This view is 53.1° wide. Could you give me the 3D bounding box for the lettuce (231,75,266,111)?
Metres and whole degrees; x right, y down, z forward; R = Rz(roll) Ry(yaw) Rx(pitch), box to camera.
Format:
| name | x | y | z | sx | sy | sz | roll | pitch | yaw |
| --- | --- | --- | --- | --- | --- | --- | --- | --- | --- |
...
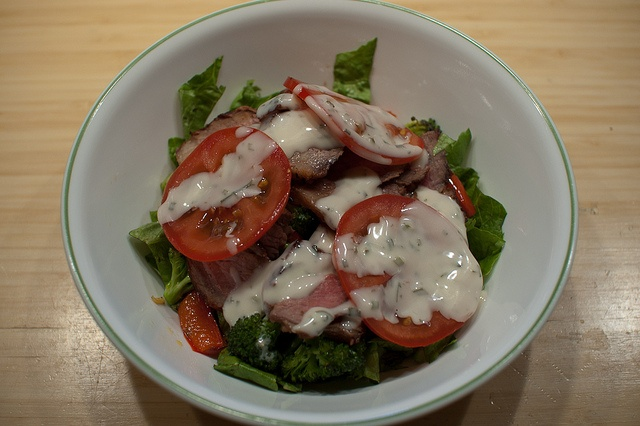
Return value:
| name | x | y | z | sx | sy | sz | roll | pitch | yaw |
| --- | --- | --- | --- | --- | --- | --- | --- | --- | --- |
| lettuce | -0.643 | -1.040 | 5.695 | 0.250 | 0.098 | 0.275 | 7 | 69 | -6 |
